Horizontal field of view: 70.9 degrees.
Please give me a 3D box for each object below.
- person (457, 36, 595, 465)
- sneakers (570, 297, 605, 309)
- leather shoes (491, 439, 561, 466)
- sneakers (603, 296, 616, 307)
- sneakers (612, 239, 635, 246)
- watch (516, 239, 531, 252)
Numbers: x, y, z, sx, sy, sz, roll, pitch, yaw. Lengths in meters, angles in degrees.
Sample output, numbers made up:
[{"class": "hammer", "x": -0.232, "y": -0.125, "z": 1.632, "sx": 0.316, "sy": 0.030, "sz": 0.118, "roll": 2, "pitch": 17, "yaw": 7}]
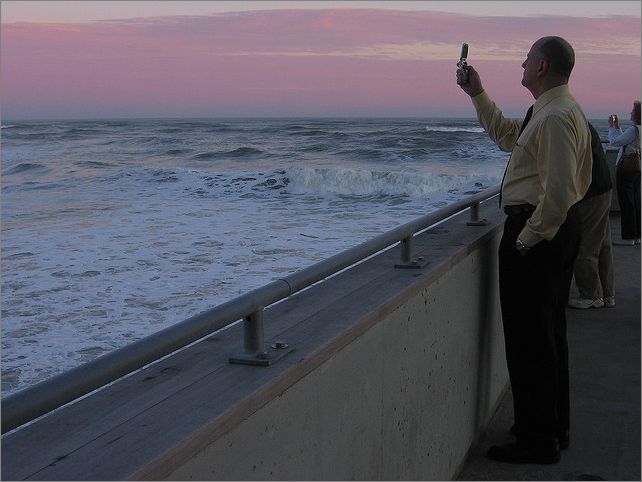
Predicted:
[{"class": "person", "x": 1.079, "y": 0.089, "z": 2.231, "sx": 0.422, "sy": 2.137, "sz": 0.527, "roll": 1, "pitch": 15, "yaw": 29}, {"class": "sneakers", "x": 2.602, "y": 0.617, "z": 4.467, "sx": 0.352, "sy": 0.126, "sz": 0.114, "roll": 2, "pitch": 2, "yaw": 8}, {"class": "leather shoes", "x": 1.033, "y": 1.071, "z": 2.348, "sx": 0.390, "sy": 0.113, "sz": 0.125, "roll": 1, "pitch": 5, "yaw": 7}, {"class": "sneakers", "x": 2.838, "y": 0.607, "z": 4.474, "sx": 0.128, "sy": 0.096, "sz": 0.103, "roll": 0, "pitch": 0, "yaw": 41}, {"class": "sneakers", "x": 4.532, "y": 0.032, "z": 6.748, "sx": 0.299, "sy": 0.096, "sz": 0.095, "roll": 3, "pitch": 2, "yaw": 26}, {"class": "watch", "x": 0.916, "y": 0.020, "z": 2.069, "sx": 0.075, "sy": 0.055, "sz": 0.049, "roll": -11, "pitch": 29, "yaw": 8}]
